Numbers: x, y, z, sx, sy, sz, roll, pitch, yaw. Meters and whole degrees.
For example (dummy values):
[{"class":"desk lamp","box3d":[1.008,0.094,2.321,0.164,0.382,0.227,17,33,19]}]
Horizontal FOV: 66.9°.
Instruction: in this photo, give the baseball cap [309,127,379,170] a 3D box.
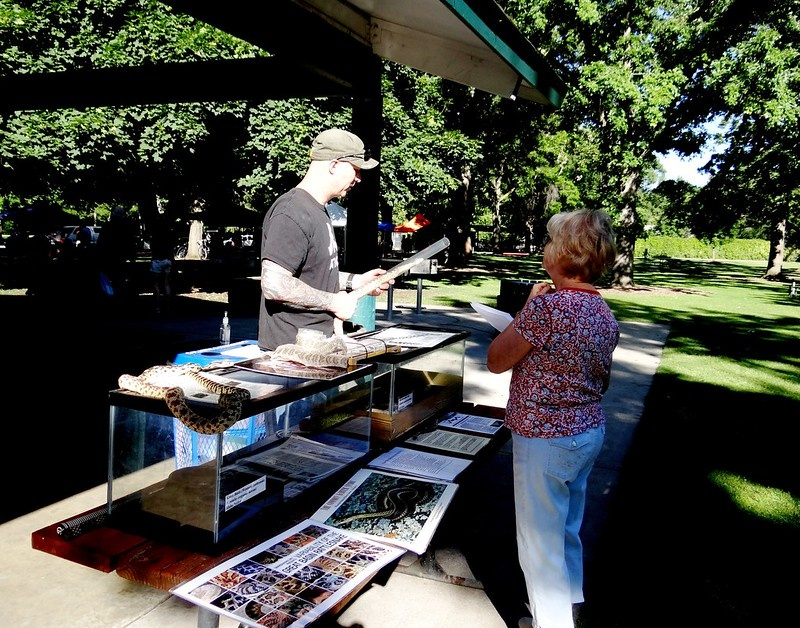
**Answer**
[{"class":"baseball cap","box3d":[-0.309,-0.913,3.372,0.319,0.148,0.209,-3,21,-20]}]

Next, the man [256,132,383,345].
[{"class":"man","box3d":[-0.387,-0.384,3.367,0.814,1.252,0.683,-2,14,-29]}]

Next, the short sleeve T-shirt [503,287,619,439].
[{"class":"short sleeve T-shirt","box3d":[0.790,0.235,2.956,0.527,0.719,0.285,6,12,5]}]
